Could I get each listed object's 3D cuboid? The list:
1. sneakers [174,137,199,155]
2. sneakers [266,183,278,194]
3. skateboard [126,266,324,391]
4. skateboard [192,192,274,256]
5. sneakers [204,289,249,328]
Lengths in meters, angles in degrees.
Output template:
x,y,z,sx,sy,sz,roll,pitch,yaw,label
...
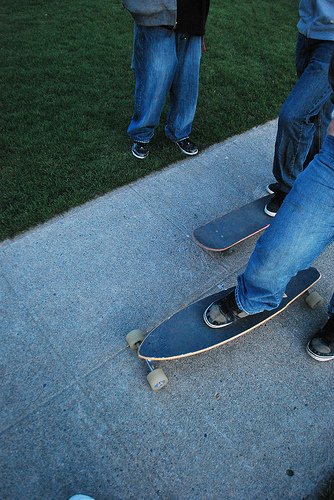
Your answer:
x,y,z,sx,sy,sz,roll,pitch,yaw,label
0.216,-1.111,4.486,0.287,0.112,0.117,40,69,14,sneakers
1.017,-0.601,4.021,0.140,0.055,0.071,-21,62,-16,sneakers
0.460,0.506,2.968,1.749,0.241,0.488,-25,59,-12,skateboard
0.540,-0.194,3.465,0.951,0.127,0.280,-26,62,-20,skateboard
0.361,0.413,2.702,0.420,0.164,0.143,-23,77,-5,sneakers
